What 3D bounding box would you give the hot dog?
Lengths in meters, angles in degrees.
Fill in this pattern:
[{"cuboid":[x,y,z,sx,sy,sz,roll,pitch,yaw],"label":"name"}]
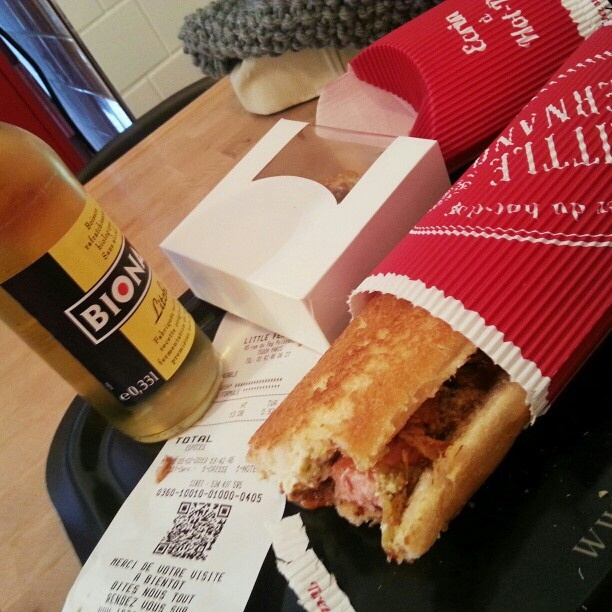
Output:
[{"cuboid":[0.054,0.073,0.331,0.129,0.052,0.132,38,81,22],"label":"hot dog"}]
